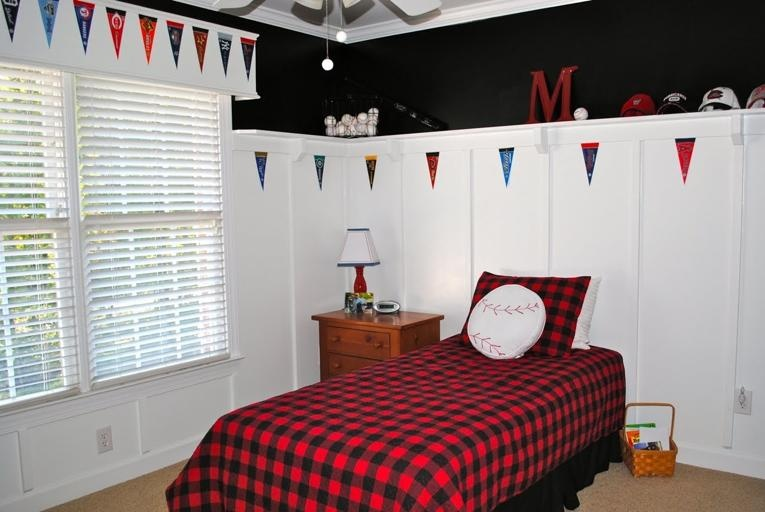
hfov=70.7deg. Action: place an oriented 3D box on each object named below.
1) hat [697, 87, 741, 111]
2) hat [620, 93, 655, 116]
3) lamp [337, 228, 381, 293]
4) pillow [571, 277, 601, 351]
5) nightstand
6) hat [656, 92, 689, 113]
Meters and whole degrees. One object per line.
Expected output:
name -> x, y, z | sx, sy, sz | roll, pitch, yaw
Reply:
hat -> 2.324, -1.071, 3.738 | 0.169, 0.125, 0.231 | 4, 5, 42
hat -> 1.905, -1.122, 4.019 | 0.253, 0.180, 0.181 | -9, 11, -39
lamp -> -0.210, 0.061, 4.844 | 0.349, 0.613, 0.392 | -2, 8, 3
pillow -> 1.463, 0.422, 3.871 | 0.132, 0.427, 0.449 | 13, 40, 16
nightstand -> -0.074, 0.905, 4.710 | 0.836, 0.815, 0.641 | 3, 4, 32
hat -> 2.128, -1.119, 3.965 | 0.199, 0.157, 0.149 | 3, 10, 29
